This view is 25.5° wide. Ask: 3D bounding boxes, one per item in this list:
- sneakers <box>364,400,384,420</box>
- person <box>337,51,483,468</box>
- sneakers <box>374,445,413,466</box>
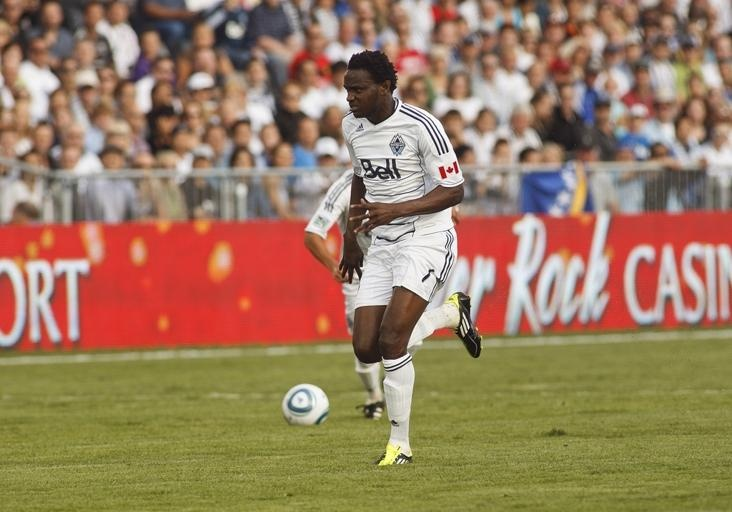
[{"bbox_3d":[0.086,1.702,17.524,0.158,0.188,0.427,0,-8,-5],"label":"sneakers"},{"bbox_3d":[0.361,-0.030,16.277,1.137,4.007,1.528,-4,14,-12],"label":"person"},{"bbox_3d":[0.275,2.028,16.002,0.469,0.191,0.153,0,-5,-16],"label":"sneakers"}]
